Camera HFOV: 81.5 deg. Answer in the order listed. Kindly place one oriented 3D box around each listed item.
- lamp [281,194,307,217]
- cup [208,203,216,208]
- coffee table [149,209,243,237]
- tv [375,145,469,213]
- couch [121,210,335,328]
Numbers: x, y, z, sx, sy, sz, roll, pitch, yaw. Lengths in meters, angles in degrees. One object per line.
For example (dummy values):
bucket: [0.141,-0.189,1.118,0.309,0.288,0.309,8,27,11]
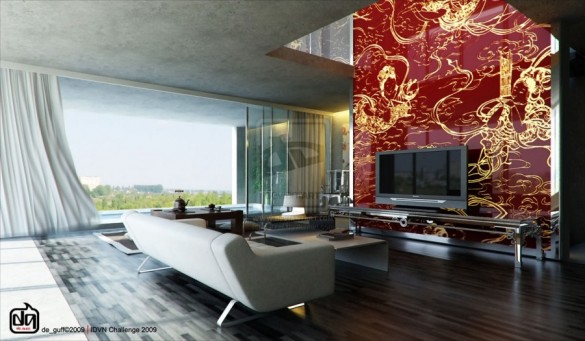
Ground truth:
lamp: [-0.006,0.973,9.160,0.692,0.539,0.643,3,-6,-32]
cup: [-1.669,0.734,7.062,0.143,0.073,0.127,-2,-1,21]
coffee table: [-1.437,1.137,7.186,1.570,0.535,0.999,-6,-6,18]
tv: [2.541,0.143,6.764,0.223,1.121,2.131,-1,0,-30]
couch: [-1.220,1.410,5.320,1.517,0.824,3.417,11,-11,-36]
